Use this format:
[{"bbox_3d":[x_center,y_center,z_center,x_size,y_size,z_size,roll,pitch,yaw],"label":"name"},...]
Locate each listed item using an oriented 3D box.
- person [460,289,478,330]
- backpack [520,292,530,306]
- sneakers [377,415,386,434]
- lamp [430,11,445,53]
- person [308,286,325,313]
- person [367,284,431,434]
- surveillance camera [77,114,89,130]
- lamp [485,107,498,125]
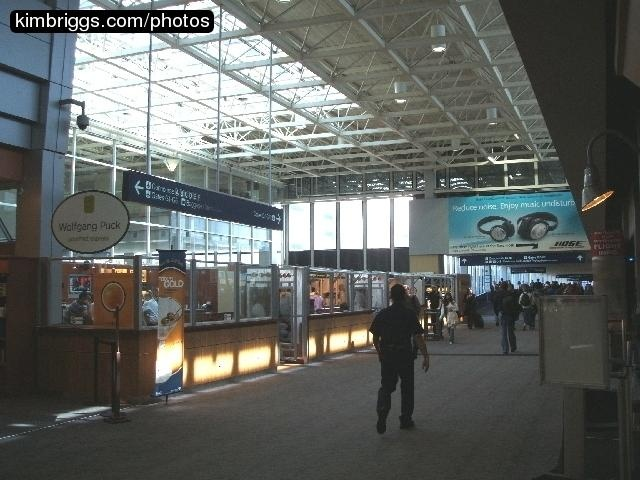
[{"bbox_3d":[6.606,3.050,25.197,0.503,1.596,1.292,-1,-3,16],"label":"person"},{"bbox_3d":[7.163,2.050,19.954,0.274,0.469,0.353,-29,36,-29],"label":"backpack"},{"bbox_3d":[0.788,2.337,7.344,0.095,0.256,0.101,2,-10,-4],"label":"sneakers"},{"bbox_3d":[3.288,-5.496,15.744,0.417,0.889,1.868,-1,-3,12],"label":"lamp"},{"bbox_3d":[-0.085,1.624,15.618,0.189,0.685,1.090,-1,-3,13],"label":"person"},{"bbox_3d":[1.048,1.546,7.554,0.758,1.899,0.519,-1,-3,5],"label":"person"},{"bbox_3d":[-5.180,-2.598,12.516,0.223,0.336,0.344,1,-3,-28],"label":"surveillance camera"},{"bbox_3d":[6.607,-4.765,21.941,0.375,0.439,0.699,-1,-3,19],"label":"lamp"}]
